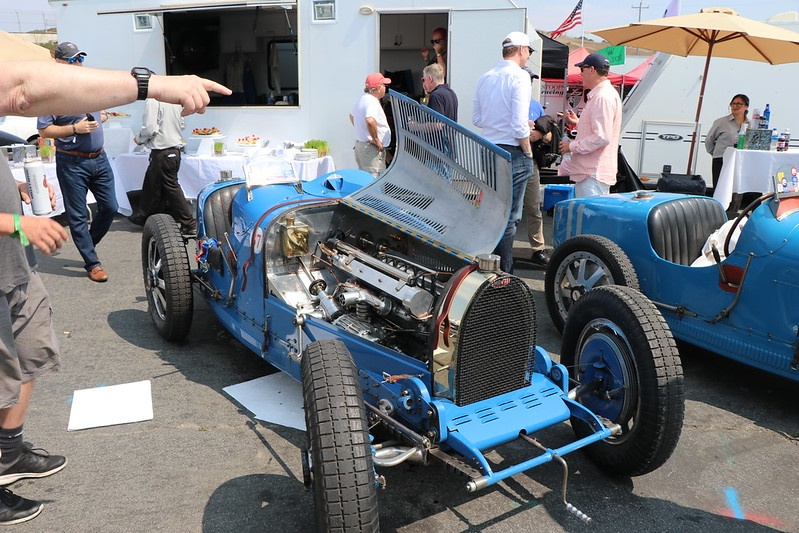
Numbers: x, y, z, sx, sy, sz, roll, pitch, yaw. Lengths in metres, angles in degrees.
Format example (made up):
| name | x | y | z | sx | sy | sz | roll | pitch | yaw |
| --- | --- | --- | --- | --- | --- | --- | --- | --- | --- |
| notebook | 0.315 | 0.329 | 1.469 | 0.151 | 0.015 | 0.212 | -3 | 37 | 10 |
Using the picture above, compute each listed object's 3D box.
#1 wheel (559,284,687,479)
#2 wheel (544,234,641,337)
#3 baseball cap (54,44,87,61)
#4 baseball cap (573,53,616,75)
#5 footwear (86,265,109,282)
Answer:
| name | x | y | z | sx | sy | sz | roll | pitch | yaw |
| --- | --- | --- | --- | --- | --- | --- | --- | --- | --- |
| wheel | 1.506 | 0.832 | 4.080 | 0.344 | 1.485 | 1.188 | 0 | -3 | -25 |
| wheel | 1.746 | 0.221 | 5.552 | 0.318 | 1.002 | 0.931 | 6 | -11 | -32 |
| baseball cap | -3.643 | -2.358 | 6.597 | 0.317 | 0.137 | 0.230 | 16 | 36 | 29 |
| baseball cap | 2.119 | -2.282 | 6.564 | 0.359 | 0.219 | 0.264 | 16 | 26 | 29 |
| footwear | -3.506 | 0.057 | 6.996 | 0.123 | 0.146 | 0.333 | -17 | 16 | -37 |
